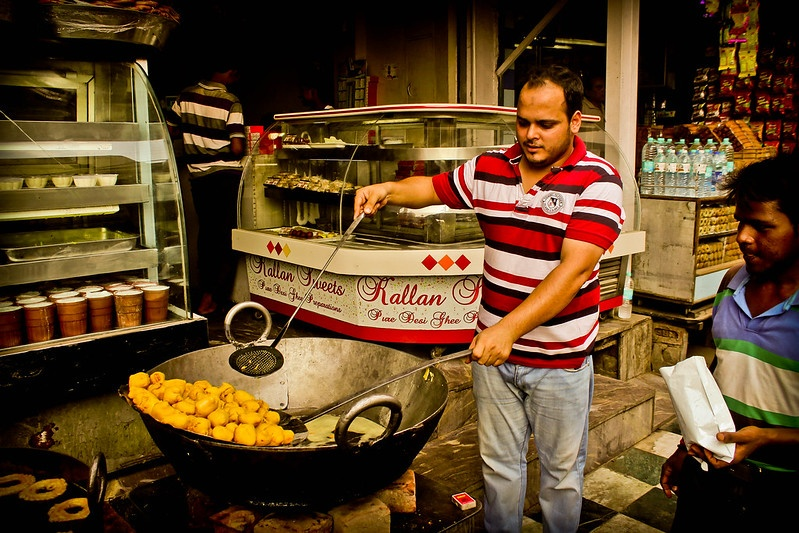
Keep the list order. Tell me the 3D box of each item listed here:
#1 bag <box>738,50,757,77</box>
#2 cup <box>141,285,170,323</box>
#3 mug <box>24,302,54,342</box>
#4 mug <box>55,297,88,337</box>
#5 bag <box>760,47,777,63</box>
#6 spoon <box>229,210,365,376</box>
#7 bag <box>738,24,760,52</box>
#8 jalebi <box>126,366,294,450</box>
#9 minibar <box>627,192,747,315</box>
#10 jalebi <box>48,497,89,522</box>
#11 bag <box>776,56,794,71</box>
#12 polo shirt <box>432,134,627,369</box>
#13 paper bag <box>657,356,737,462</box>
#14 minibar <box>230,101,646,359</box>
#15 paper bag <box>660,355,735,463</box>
[{"bbox_3d":[4.080,-2.400,6.421,0.184,0.300,0.116,7,8,39],"label":"bag"},{"bbox_3d":[-1.545,0.258,3.448,0.203,0.216,0.187,-5,0,0],"label":"cup"},{"bbox_3d":[-2.060,0.341,3.161,0.176,0.253,0.182,-7,3,-36],"label":"mug"},{"bbox_3d":[-1.925,0.309,3.221,0.172,0.222,0.184,2,8,19],"label":"mug"},{"bbox_3d":[4.409,-2.536,6.557,0.174,0.178,0.041,5,8,33],"label":"bag"},{"bbox_3d":[-0.754,0.180,4.196,0.294,1.385,0.101,37,4,-6],"label":"spoon"},{"bbox_3d":[4.050,-2.637,6.326,0.170,0.251,0.091,4,7,22],"label":"bag"},{"bbox_3d":[-0.838,0.652,2.435,0.457,0.079,0.460,19,0,30],"label":"jalebi"},{"bbox_3d":[3.151,-0.189,5.696,1.332,1.012,0.691,-10,15,-29],"label":"minibar"},{"bbox_3d":[-1.327,0.985,2.209,0.186,0.048,0.109,2,6,1],"label":"jalebi"},{"bbox_3d":[4.562,-2.409,6.465,0.182,0.168,0.061,3,7,18],"label":"bag"},{"bbox_3d":[0.572,-0.069,2.543,0.800,1.061,0.376,6,8,33],"label":"polo shirt"},{"bbox_3d":[1.099,0.517,2.069,0.239,0.359,0.137,-12,-6,-8],"label":"paper bag"},{"bbox_3d":[0.312,-0.003,5.198,2.716,1.568,2.797,-6,12,-36],"label":"minibar"},{"bbox_3d":[1.081,0.497,1.984,0.248,0.352,0.145,-13,-10,7],"label":"paper bag"}]
